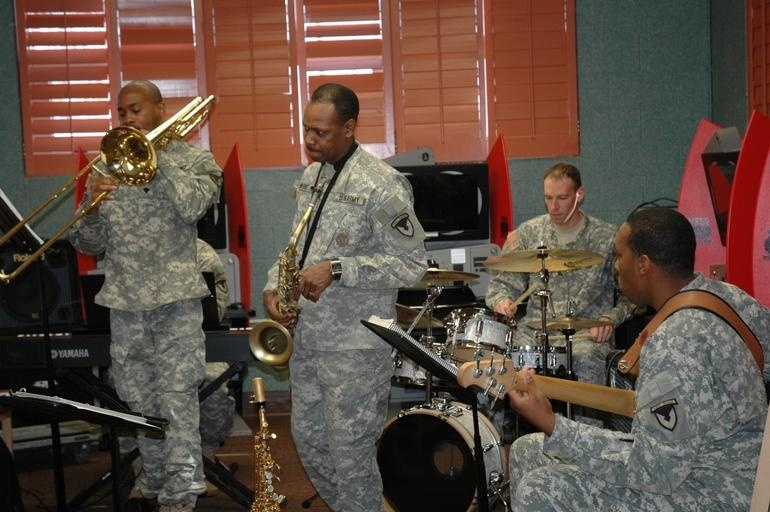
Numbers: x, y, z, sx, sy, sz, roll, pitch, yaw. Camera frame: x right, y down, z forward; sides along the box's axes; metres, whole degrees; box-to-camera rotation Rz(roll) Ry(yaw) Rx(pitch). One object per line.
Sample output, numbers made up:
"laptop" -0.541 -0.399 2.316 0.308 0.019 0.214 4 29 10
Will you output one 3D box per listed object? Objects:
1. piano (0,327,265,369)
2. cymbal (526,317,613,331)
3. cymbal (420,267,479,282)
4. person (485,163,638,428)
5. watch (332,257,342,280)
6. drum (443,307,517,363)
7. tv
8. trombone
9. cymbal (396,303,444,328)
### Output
"piano" -1.895 0.653 5.917 1.312 0.254 0.253 -4 -11 5
"cymbal" 1.227 0.436 5.970 0.241 0.056 0.236 -2 2 -40
"cymbal" 0.430 0.122 6.094 0.349 0.113 0.258 -1 4 0
"person" 1.235 0.314 6.385 1.282 1.886 1.122 -2 2 -34
"watch" -0.268 0.069 4.987 0.060 0.092 0.092 -1 -12 0
"drum" 0.571 0.465 5.812 0.364 0.218 0.367 5 -13 1
"tv" 0.403 -0.378 6.746 0.684 0.599 0.249 -2 0 -5
"trombone" -1.866 -0.457 6.074 0.460 0.476 2.182 6 33 37
"cymbal" 0.204 0.409 6.174 0.244 0.056 0.199 12 -5 -39
